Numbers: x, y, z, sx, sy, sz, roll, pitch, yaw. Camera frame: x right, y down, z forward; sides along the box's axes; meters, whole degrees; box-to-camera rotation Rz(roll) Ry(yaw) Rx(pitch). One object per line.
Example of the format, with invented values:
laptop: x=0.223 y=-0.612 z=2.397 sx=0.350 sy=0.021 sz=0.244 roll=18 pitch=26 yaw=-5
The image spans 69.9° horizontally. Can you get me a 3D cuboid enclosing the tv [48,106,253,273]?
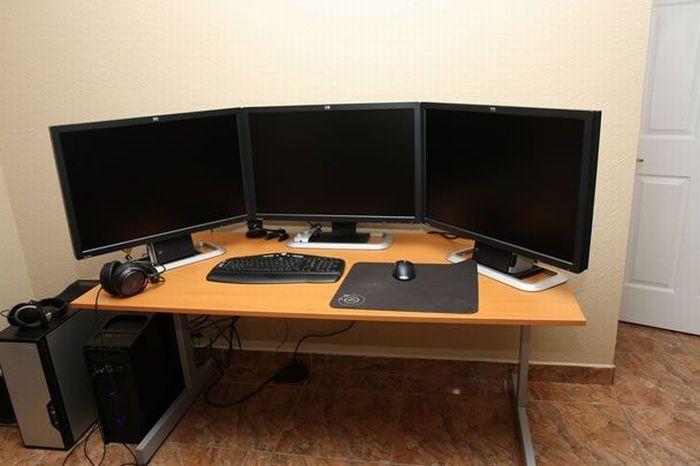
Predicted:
tv: x=-0.973 y=-0.241 z=2.494 sx=0.886 sy=0.670 sz=0.236 roll=-12 pitch=19 yaw=-28

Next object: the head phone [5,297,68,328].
head phone: x=-1.579 y=0.387 z=2.487 sx=0.185 sy=0.102 sz=0.218 roll=3 pitch=6 yaw=7

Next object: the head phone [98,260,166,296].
head phone: x=-1.036 y=0.183 z=2.372 sx=0.259 sy=0.100 sz=0.279 roll=11 pitch=14 yaw=21
